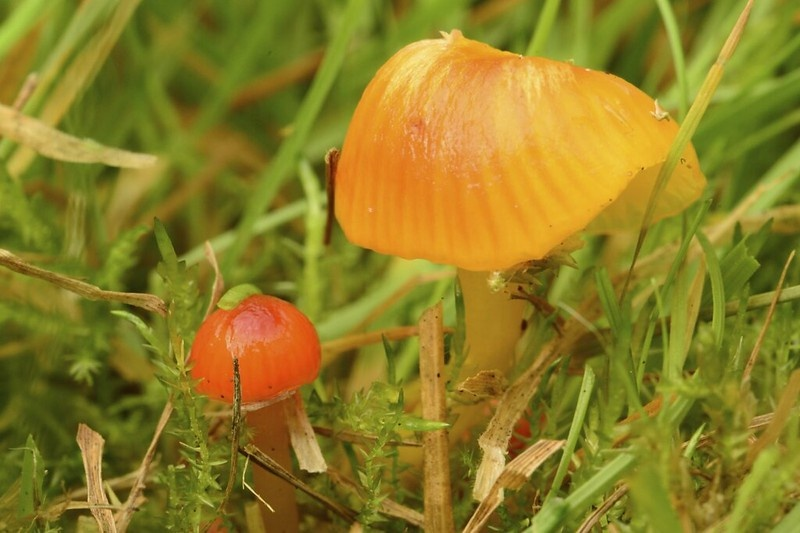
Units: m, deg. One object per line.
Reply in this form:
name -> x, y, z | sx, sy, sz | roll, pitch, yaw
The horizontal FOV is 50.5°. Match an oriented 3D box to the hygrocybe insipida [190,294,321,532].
hygrocybe insipida -> -0.254, 0.296, 1.627 | 0.242, 0.422, 0.245 | -13, 31, -15
